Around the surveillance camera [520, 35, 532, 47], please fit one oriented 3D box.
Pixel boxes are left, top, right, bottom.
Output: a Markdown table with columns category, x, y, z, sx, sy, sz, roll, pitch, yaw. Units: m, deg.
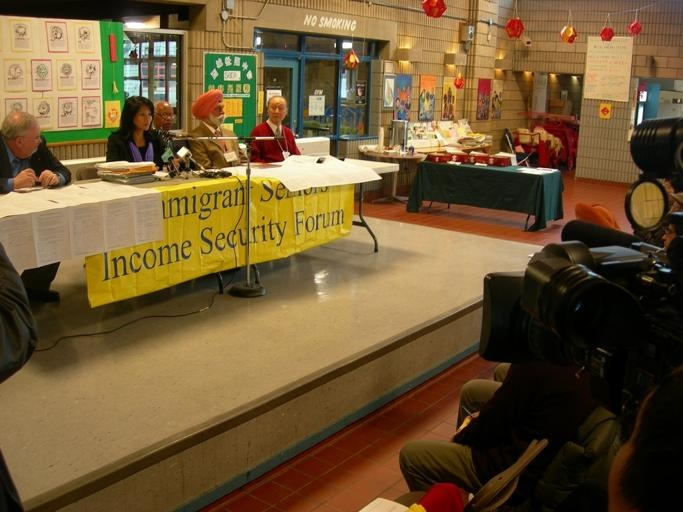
| category | x | y | z | sx | sy | sz | roll | pitch | yaw |
| --- | --- | --- | --- | --- | --- | --- | --- | --- | --- |
| surveillance camera | 5.275 | -6.154 | 14.387 | 0.297 | 0.377 | 0.274 | -3 | 24 | -6 |

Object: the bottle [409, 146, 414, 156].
| category | x | y | z | sx | sy | sz | roll | pitch | yaw |
| --- | --- | --- | --- | --- | --- | --- | --- | --- | --- |
| bottle | 1.327 | -2.027 | 9.657 | 0.127 | 0.145 | 0.239 | -2 | -6 | 3 |

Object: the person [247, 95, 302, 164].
| category | x | y | z | sx | sy | sz | roll | pitch | yaw |
| --- | --- | --- | --- | --- | --- | --- | --- | --- | --- |
| person | -0.790 | -1.500 | 6.179 | 0.561 | 0.893 | 0.809 | 16 | 20 | 36 |

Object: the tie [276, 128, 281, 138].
| category | x | y | z | sx | sy | sz | roll | pitch | yaw |
| --- | --- | --- | --- | --- | --- | --- | --- | --- | --- |
| tie | -0.764 | -1.505 | 6.060 | 0.073 | 0.094 | 0.163 | -1 | 13 | -6 |

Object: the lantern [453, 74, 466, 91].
| category | x | y | z | sx | sy | sz | roll | pitch | yaw |
| --- | --- | --- | --- | --- | --- | --- | --- | --- | --- |
| lantern | 2.804 | -4.165 | 12.055 | 0.280 | 0.328 | 0.329 | 1 | 6 | 21 |

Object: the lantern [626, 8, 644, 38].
| category | x | y | z | sx | sy | sz | roll | pitch | yaw |
| --- | --- | --- | --- | --- | --- | --- | --- | --- | --- |
| lantern | 7.009 | -5.614 | 12.008 | 0.270 | 0.801 | 1.479 | 6 | 14 | 29 |

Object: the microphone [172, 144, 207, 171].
| category | x | y | z | sx | sy | sz | roll | pitch | yaw |
| --- | --- | --- | --- | --- | --- | --- | --- | --- | --- |
| microphone | -1.460 | -0.935 | 4.799 | 0.200 | 0.271 | 0.200 | -29 | 61 | -21 |

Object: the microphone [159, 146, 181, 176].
| category | x | y | z | sx | sy | sz | roll | pitch | yaw |
| --- | --- | --- | --- | --- | --- | --- | --- | --- | --- |
| microphone | -1.552 | -0.855 | 4.533 | 0.153 | 0.163 | 0.288 | -20 | 53 | -13 |

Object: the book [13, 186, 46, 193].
| category | x | y | z | sx | sy | sz | roll | pitch | yaw |
| --- | --- | --- | --- | --- | --- | --- | --- | --- | --- |
| book | -2.261 | -0.483 | 3.650 | 0.138 | 0.028 | 0.211 | 8 | 15 | 30 |
